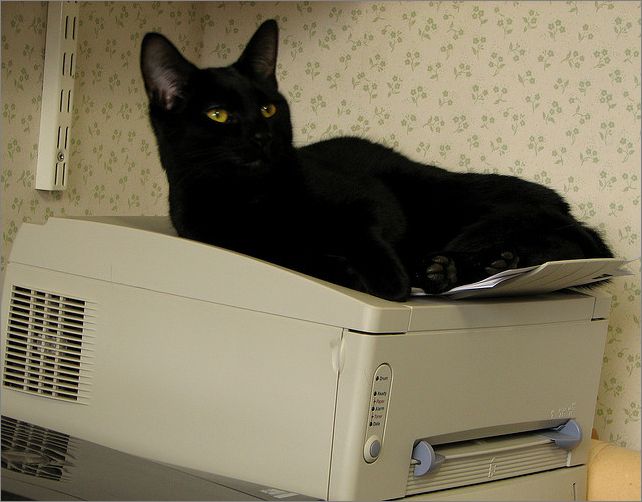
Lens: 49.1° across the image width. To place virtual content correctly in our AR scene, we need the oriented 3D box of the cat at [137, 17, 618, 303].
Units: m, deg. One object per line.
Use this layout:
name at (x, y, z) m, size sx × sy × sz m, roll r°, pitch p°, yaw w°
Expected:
cat at (0.062, -0.035, 1.215) m, size 0.471 × 0.326 × 0.640 m, roll 2°, pitch -8°, yaw 43°
